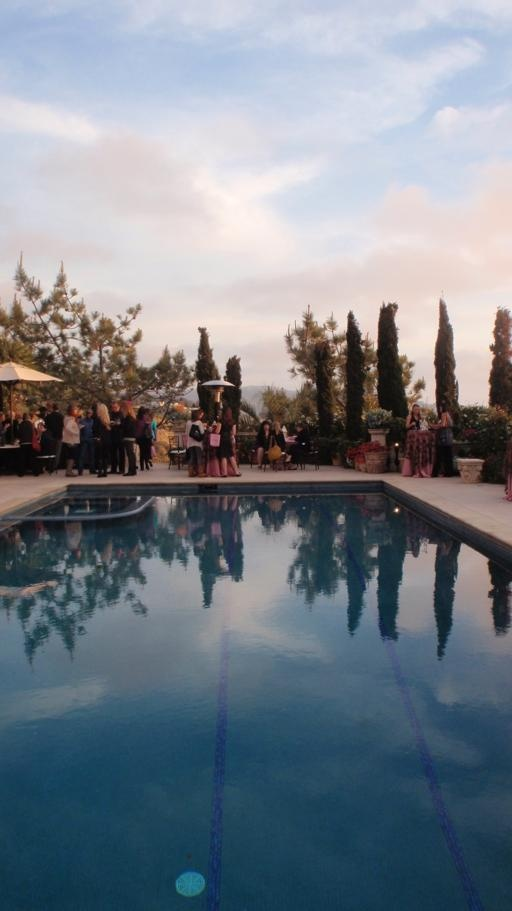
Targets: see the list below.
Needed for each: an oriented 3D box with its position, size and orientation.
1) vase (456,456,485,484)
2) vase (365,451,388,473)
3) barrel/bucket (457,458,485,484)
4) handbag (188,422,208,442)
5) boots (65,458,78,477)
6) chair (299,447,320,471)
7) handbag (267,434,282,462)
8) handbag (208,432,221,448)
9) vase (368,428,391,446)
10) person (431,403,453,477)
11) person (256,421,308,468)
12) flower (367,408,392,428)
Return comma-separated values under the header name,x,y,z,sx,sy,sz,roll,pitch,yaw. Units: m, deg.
name,x,y,z,sx,sy,sz,roll,pitch,yaw
vase,4.277,0.282,13.315,0.429,0.519,0.455,0,1,-2
vase,2.812,0.175,15.587,0.431,0.412,0.455,1,-2,-29
barrel/bucket,4.246,0.308,13.245,0.452,0.473,0.665,1,4,35
handbag,-1.270,-0.491,14.686,0.295,0.491,0.536,1,4,35
boots,-4.313,0.280,15.614,0.346,0.628,0.293,-3,6,-19
chair,1.479,0.114,18.867,0.524,0.704,0.555,0,-2,-19
handbag,0.449,-0.146,16.612,0.315,0.722,0.324,-1,3,1
handbag,-0.905,-0.351,14.619,0.260,0.426,0.089,1,0,-11
vase,2.985,-0.457,16.484,0.370,0.501,0.432,1,2,24
person,4.067,-0.226,14.545,0.439,1.431,1.058,0,3,16
person,0.609,-0.264,17.124,0.868,0.759,1.342,2,5,-4
flower,3.156,-0.908,16.996,0.427,0.505,0.480,3,3,19
